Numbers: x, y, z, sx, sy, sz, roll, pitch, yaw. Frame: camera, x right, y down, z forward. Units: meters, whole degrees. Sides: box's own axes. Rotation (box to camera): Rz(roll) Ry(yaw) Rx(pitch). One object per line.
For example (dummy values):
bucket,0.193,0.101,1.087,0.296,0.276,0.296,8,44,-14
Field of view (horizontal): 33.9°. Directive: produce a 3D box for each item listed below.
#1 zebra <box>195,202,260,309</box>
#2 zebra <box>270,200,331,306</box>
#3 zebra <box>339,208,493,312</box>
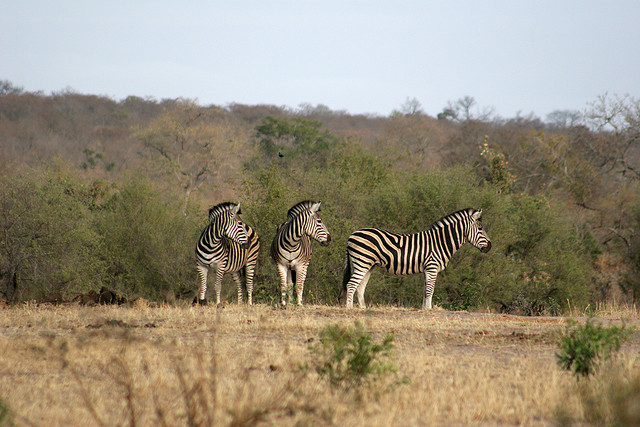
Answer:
zebra,-3.895,1.781,43.136,2.485,4.324,1.854,4,-6,-17
zebra,-0.905,1.630,42.643,2.145,4.203,1.097,1,-5,8
zebra,3.878,1.821,43.066,6.057,5.243,1.736,2,16,1
